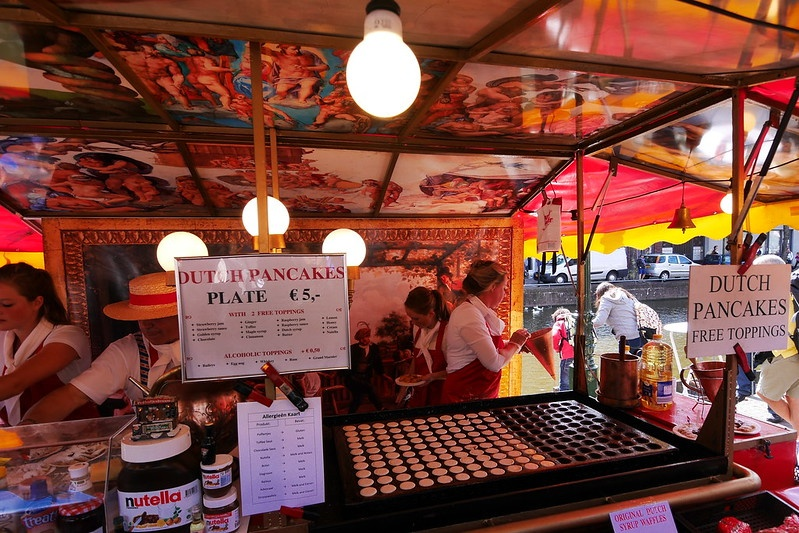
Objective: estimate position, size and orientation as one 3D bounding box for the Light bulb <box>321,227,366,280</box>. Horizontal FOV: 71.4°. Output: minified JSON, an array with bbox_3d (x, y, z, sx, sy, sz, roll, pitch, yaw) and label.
[{"bbox_3d":[-0.322,-0.089,3.266,0.378,0.337,0.215,-1,16,-4],"label":"Light bulb"}]

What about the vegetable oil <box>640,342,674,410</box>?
[{"bbox_3d":[1.524,0.610,3.210,0.232,0.387,0.198,0,-9,7],"label":"vegetable oil"}]

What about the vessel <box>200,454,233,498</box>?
[{"bbox_3d":[-0.697,0.810,2.206,0.168,0.128,0.156,0,-2,-35],"label":"vessel"}]

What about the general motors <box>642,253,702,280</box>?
[{"bbox_3d":[9.454,0.031,19.753,1.424,0.848,0.675,0,2,18],"label":"general motors"}]
